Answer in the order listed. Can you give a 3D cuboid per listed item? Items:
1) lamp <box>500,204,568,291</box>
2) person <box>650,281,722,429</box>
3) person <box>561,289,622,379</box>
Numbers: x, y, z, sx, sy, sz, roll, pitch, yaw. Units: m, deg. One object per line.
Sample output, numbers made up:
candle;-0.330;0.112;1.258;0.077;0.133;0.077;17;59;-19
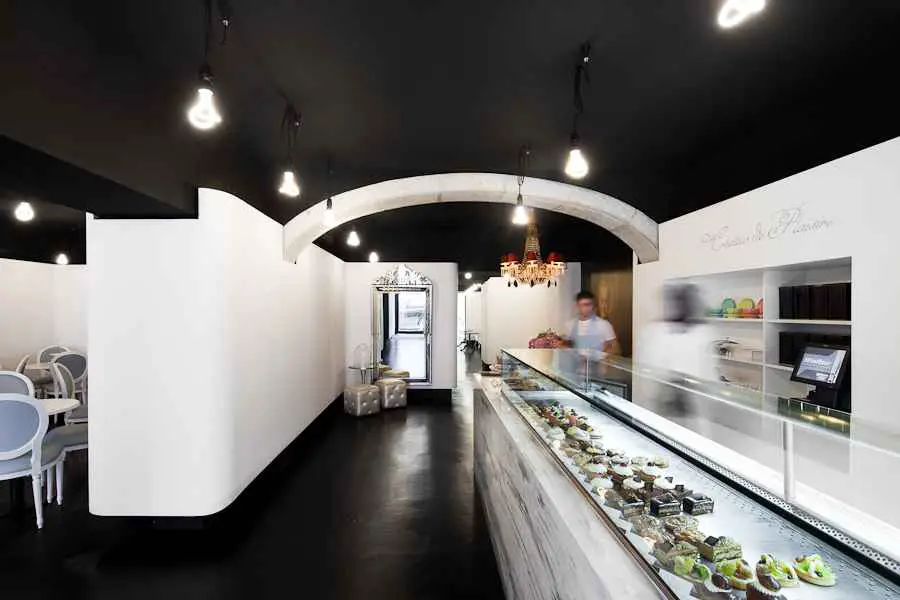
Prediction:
lamp;1.310;-0.704;8.140;1.067;1.368;1.070;-2;4;-12
person;2.850;0.967;6.487;0.789;2.722;0.706;-2;28;21
person;1.449;0.286;5.342;0.556;0.728;2.490;0;-1;13
